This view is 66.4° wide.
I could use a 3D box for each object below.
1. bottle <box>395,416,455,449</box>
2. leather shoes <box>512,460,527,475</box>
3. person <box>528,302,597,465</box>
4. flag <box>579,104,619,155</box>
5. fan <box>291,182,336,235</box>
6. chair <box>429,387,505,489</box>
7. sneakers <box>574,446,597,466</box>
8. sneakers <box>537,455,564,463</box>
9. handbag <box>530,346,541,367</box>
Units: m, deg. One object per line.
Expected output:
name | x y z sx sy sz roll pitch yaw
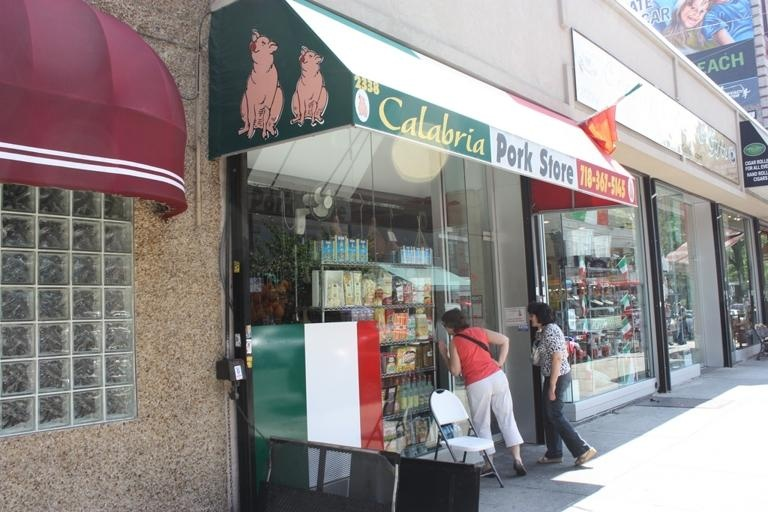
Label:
bottle | 0.493 2.242 7.466 0.343 0.445 0.652 -4 -8 44
leather shoes | 1.687 2.616 7.297 0.153 0.183 0.172 -3 -2 11
person | 2.281 1.649 7.650 0.764 2.093 0.436 -4 -3 33
flag | 3.305 -1.910 8.915 0.854 0.566 0.359 -1 -3 -41
fan | -0.851 -0.562 7.118 0.128 0.625 0.651 -4 -3 37
chair | 0.924 2.129 6.836 0.655 1.043 0.811 1 -5 -25
sneakers | 2.546 2.543 7.460 0.299 0.110 0.112 -41 -10 3
sneakers | 2.174 2.675 7.751 0.291 0.121 0.109 3 -4 16
handbag | 2.052 1.358 7.948 0.087 0.237 0.206 4 -38 12
